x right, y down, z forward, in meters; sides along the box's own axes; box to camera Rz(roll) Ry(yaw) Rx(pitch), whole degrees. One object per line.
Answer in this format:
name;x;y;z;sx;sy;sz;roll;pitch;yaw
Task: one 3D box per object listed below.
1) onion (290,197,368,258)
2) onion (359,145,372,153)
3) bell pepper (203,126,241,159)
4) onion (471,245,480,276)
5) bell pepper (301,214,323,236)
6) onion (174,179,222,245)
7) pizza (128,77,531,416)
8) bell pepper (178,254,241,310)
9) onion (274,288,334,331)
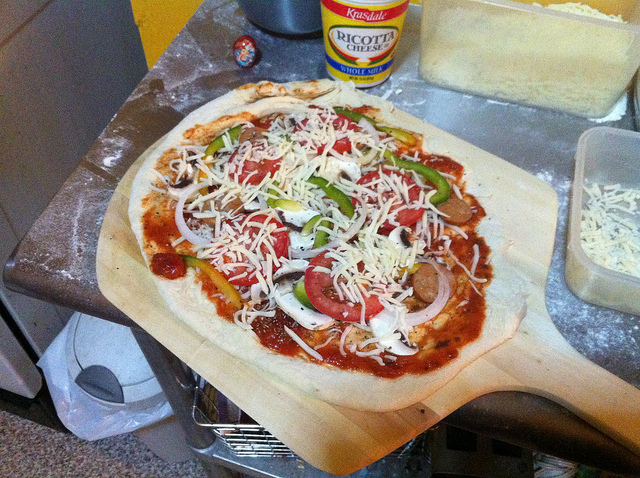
onion;0.030;-0.043;2.121;0.239;0.163;0.312;-21;36;-35
onion;0.180;-0.358;2.238;0.043;0.011;0.024;-8;53;28
bell pepper;-0.384;-0.381;2.213;0.068;0.048;0.199;39;91;-16
onion;0.544;0.078;1.991;0.026;0.014;0.105;6;64;10
bell pepper;-0.030;-0.048;2.048;0.051;0.019;0.079;37;86;20
onion;-0.448;-0.090;2.070;0.182;0.147;0.166;30;39;32
pizza;0.016;-0.035;2.061;1.417;0.186;1.162;42;76;15
bell pepper;-0.369;0.136;1.969;0.295;0.026;0.062;37;75;14
onion;-0.051;0.244;1.933;0.184;0.042;0.106;38;61;23
